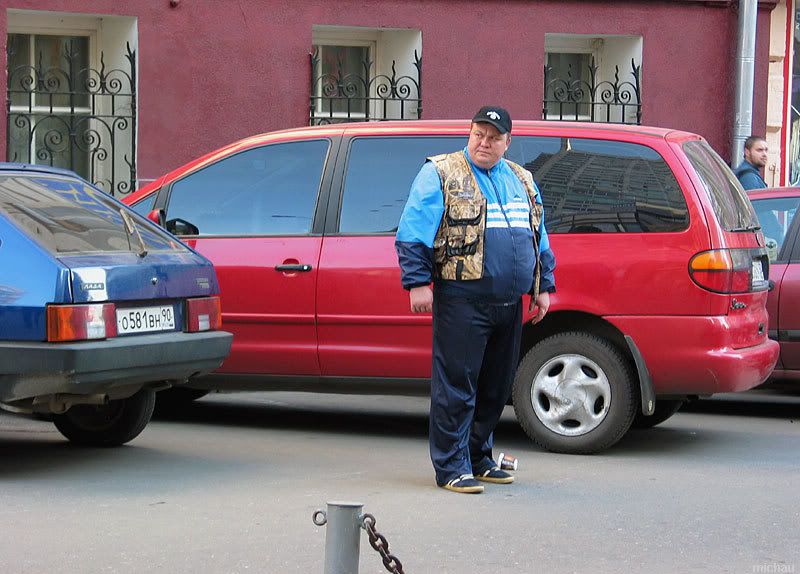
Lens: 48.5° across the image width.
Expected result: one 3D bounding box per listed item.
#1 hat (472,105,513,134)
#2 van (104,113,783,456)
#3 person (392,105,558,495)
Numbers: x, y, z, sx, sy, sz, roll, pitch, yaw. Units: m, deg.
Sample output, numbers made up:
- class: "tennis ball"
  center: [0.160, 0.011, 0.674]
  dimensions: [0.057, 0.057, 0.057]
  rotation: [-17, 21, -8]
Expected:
- class: "hat"
  center: [0.581, -1.058, 5.573]
  dimensions: [0.222, 0.198, 0.350]
  rotation: [1, 2, 9]
- class: "van"
  center: [0.420, -0.153, 7.449]
  dimensions: [4.797, 1.916, 2.461]
  rotation: [1, 2, 15]
- class: "person"
  center: [0.461, 0.076, 5.533]
  dimensions: [1.048, 2.410, 0.398]
  rotation: [0, 2, -21]
